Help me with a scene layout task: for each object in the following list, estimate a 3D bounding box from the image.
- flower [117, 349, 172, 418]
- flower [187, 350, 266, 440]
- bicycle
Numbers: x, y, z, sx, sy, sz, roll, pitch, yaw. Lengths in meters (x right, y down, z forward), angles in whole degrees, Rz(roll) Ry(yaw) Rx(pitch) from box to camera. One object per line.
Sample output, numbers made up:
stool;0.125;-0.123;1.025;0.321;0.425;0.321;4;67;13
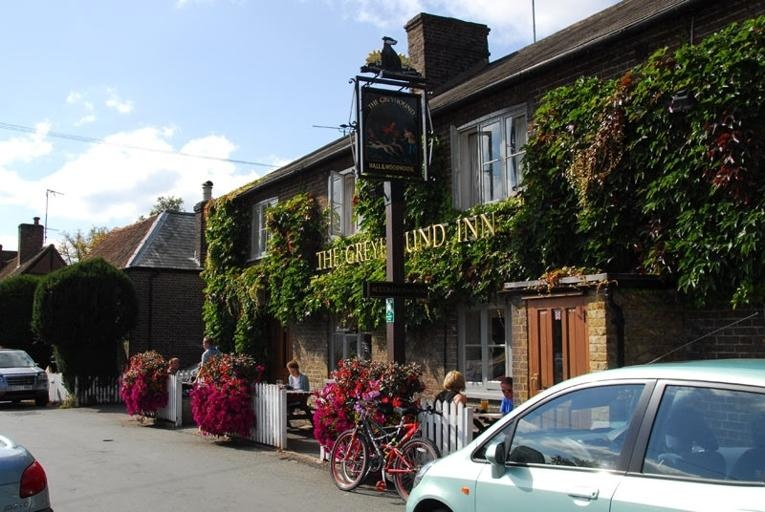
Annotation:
flower;-5.561;3.055;22.437;1.370;1.575;0.756;-7;-10;42
flower;-3.246;2.826;19.343;1.212;1.193;1.616;2;0;-27
bicycle;-0.037;3.069;15.216;1.944;1.330;1.038;-9;-25;38
